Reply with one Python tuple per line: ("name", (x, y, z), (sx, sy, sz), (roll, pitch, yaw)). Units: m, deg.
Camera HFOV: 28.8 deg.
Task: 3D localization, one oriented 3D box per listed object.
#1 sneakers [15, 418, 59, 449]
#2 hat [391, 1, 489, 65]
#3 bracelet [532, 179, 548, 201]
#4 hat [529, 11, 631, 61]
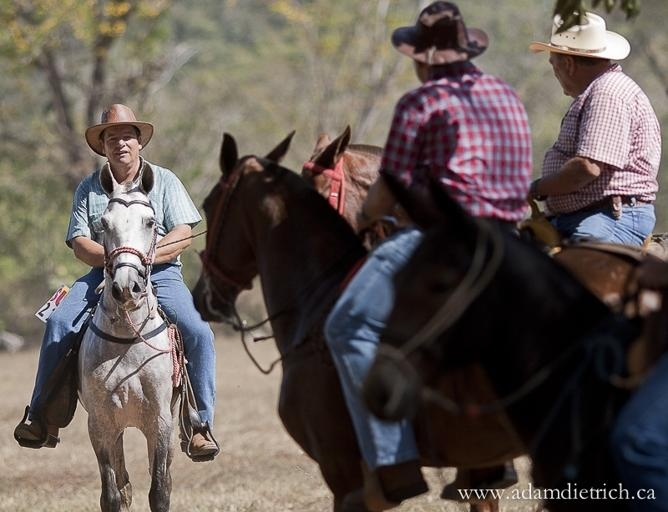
("sneakers", (-2.860, 1.694, 12.749), (0.477, 0.239, 0.177), (15, 28, -13))
("hat", (0.905, -1.874, 11.121), (0.681, 0.256, 0.628), (-6, 39, -10))
("bracelet", (1.887, -0.622, 12.058), (0.104, 0.185, 0.152), (-10, -17, 18))
("hat", (2.367, -2.003, 12.144), (0.680, 0.249, 0.570), (11, 9, 8))
